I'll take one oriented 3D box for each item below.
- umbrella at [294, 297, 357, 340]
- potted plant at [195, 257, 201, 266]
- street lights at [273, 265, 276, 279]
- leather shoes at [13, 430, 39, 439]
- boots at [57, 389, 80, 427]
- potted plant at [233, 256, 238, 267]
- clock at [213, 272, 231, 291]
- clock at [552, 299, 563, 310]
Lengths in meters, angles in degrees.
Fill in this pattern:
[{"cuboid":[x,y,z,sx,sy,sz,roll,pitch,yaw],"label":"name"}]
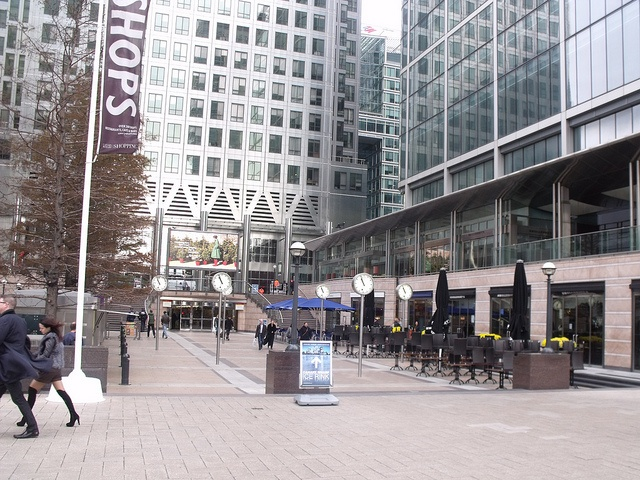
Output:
[{"cuboid":[0.198,5.207,39.737,3.221,2.013,2.996,3,-1,-3],"label":"umbrella"},{"cuboid":[-11.828,2.079,62.596,0.434,0.561,0.787,-1,-5,11],"label":"potted plant"},{"cuboid":[-4.963,3.373,70.865,0.545,1.467,0.192,-3,-9,25],"label":"street lights"},{"cuboid":[-5.552,3.675,12.351,0.506,0.207,0.171,4,-11,-3],"label":"leather shoes"},{"cuboid":[-5.215,3.462,13.410,0.468,0.750,0.719,4,-9,-20],"label":"boots"},{"cuboid":[-8.438,2.167,64.281,0.704,0.741,0.678,1,-5,-3],"label":"potted plant"},{"cuboid":[-4.197,1.729,26.522,0.771,0.778,0.173,4,-7,-41],"label":"clock"},{"cuboid":[11.329,3.049,30.921,0.120,0.452,0.438,4,20,-41],"label":"clock"}]
